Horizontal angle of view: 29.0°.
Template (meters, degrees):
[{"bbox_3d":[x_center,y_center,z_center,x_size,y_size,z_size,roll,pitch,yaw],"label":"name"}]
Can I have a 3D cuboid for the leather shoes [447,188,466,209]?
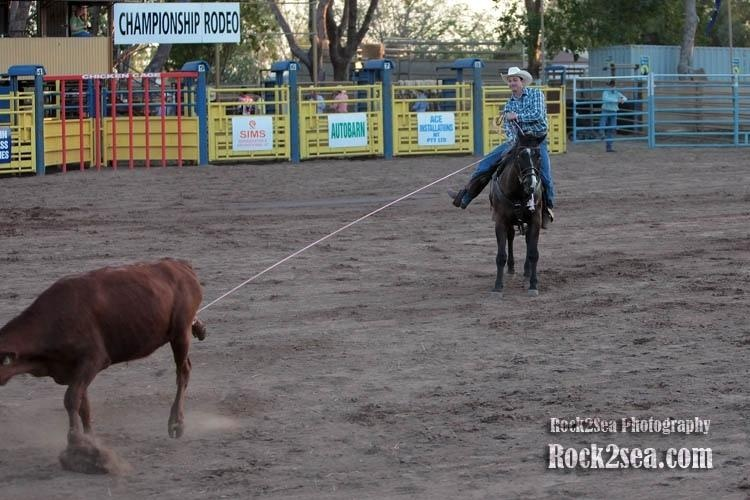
[{"bbox_3d":[1.749,-1.093,29.220,0.197,0.272,0.616,42,17,-18],"label":"leather shoes"}]

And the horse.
[{"bbox_3d":[2.706,-0.776,27.617,0.982,2.975,1.427,0,10,4],"label":"horse"}]

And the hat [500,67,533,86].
[{"bbox_3d":[2.774,-3.349,27.887,0.452,0.327,0.768,0,11,2],"label":"hat"}]
